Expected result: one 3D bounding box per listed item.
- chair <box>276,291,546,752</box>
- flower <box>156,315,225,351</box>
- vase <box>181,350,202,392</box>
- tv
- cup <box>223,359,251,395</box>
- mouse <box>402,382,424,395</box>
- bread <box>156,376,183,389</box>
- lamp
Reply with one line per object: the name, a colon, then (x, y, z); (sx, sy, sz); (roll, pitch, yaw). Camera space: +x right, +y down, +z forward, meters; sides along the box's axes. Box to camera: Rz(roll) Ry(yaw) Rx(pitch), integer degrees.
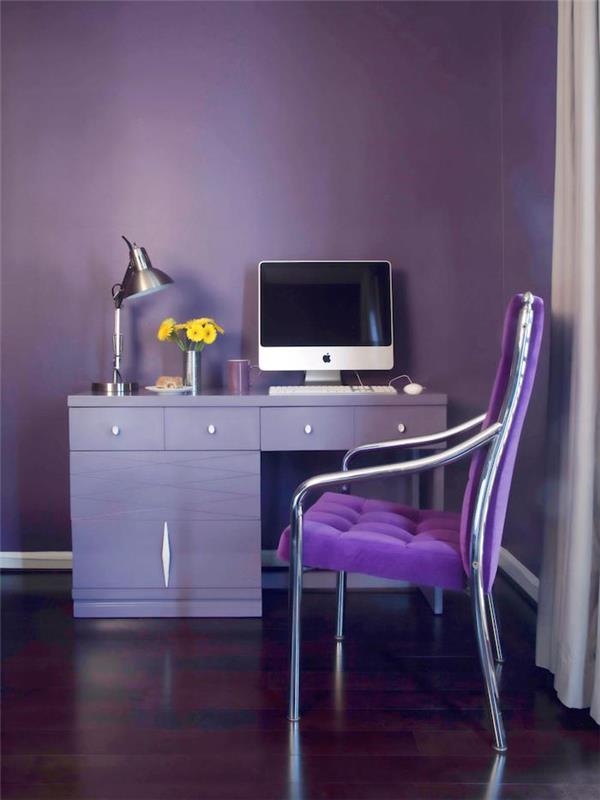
chair: (0.251, 0.270, 1.900); (0.650, 0.925, 0.626); (1, -3, 28)
flower: (-0.400, -0.243, 2.697); (0.155, 0.097, 0.169); (13, 18, 43)
vase: (-0.387, -0.109, 2.678); (0.060, 0.148, 0.222); (-1, 5, -8)
tv: (0.086, -0.305, 2.734); (0.451, 0.428, 0.156); (-1, -4, -2)
cup: (-0.228, -0.087, 2.675); (0.085, 0.110, 0.204); (-1, 5, -6)
mouse: (0.379, -0.036, 2.557); (0.049, 0.039, 0.063); (-3, -1, 21)
bread: (-0.477, -0.068, 2.698); (0.062, 0.027, 0.062); (-4, 8, -34)
lamp: (-0.599, -0.325, 2.671); (0.287, 0.576, 0.547); (-2, 5, -13)
